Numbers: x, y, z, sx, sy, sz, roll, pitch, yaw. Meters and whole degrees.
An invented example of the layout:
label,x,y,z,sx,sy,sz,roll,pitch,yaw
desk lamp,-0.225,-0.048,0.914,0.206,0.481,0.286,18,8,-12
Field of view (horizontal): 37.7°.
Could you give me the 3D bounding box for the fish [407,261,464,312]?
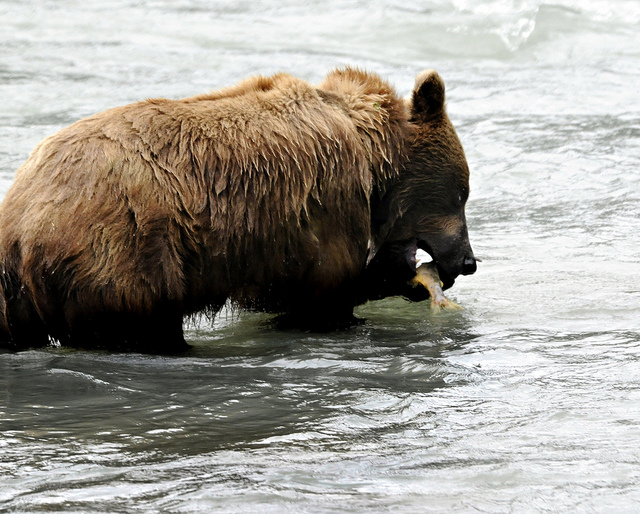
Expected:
label,x,y,z,sx,sy,sz,roll,pitch,yaw
fish,0.903,0.243,7.596,0.255,0.237,0.562,-19,38,-10
